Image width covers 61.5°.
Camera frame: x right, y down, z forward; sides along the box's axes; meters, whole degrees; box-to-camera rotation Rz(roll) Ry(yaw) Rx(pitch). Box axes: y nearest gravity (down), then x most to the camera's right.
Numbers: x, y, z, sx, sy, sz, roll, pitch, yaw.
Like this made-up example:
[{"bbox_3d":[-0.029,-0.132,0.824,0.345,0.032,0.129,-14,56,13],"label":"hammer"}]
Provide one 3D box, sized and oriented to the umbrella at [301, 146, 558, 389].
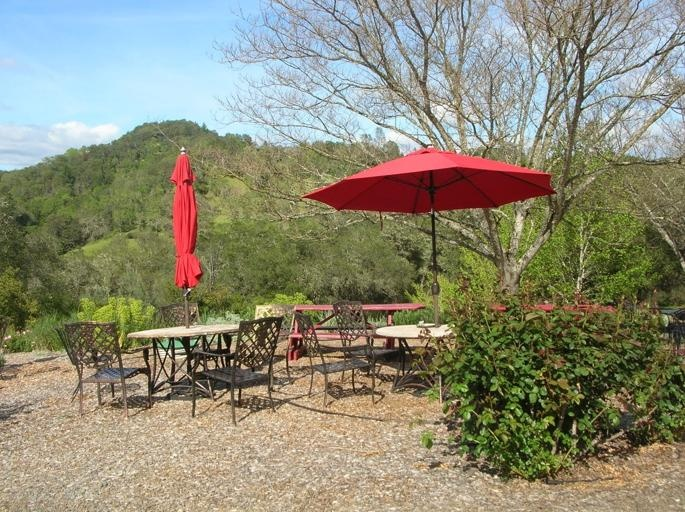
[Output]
[{"bbox_3d":[1.224,-0.285,7.705,2.928,2.218,2.134,-4,7,-13],"label":"umbrella"}]
